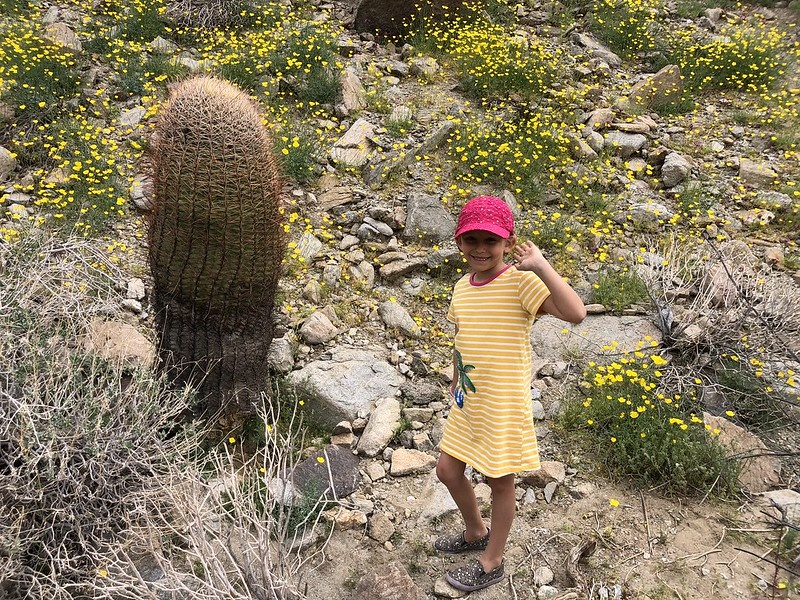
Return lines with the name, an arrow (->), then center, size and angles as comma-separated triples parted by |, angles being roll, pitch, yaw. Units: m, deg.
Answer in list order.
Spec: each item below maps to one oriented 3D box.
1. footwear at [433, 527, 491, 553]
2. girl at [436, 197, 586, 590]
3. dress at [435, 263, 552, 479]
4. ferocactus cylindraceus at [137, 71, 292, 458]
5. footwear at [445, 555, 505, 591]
footwear -> 0.403, 1.638, 5.148 | 0.425, 0.172, 0.146 | 0, 28, -5
girl -> 0.582, 0.571, 4.988 | 1.095, 2.458, 1.091 | 4, 22, -21
dress -> 0.584, 0.464, 4.901 | 0.792, 1.340, 0.627 | -10, 25, -28
ferocactus cylindraceus -> -1.342, -0.250, 5.531 | 0.930, 2.653, 0.955 | -11, 25, -29
footwear -> 0.489, 1.791, 4.951 | 0.364, 0.146, 0.171 | -7, 33, -11
